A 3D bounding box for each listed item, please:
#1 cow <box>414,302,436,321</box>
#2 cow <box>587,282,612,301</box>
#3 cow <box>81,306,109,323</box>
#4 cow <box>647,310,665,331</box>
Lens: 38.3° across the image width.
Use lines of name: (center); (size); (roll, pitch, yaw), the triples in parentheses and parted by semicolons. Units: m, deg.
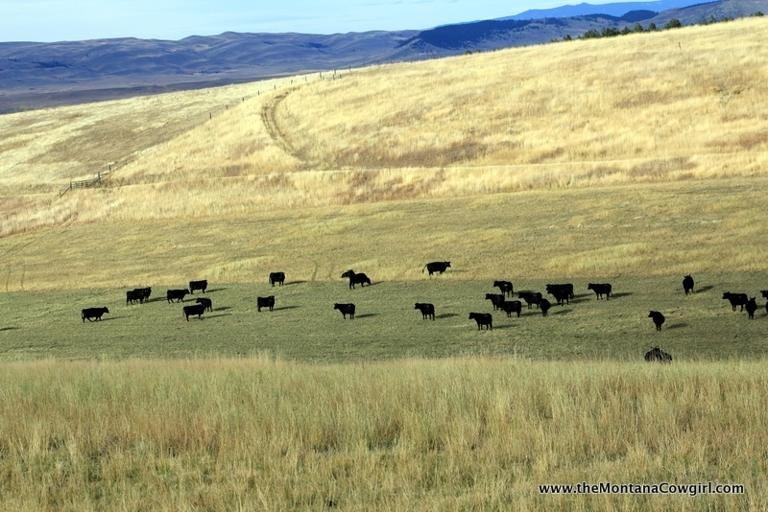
cow: (3.783, 4.934, 99.501); (1.673, 1.670, 1.384); (-9, 10, 10)
cow: (19.512, 3.091, 99.505); (1.906, 1.629, 1.276); (-9, 10, 13)
cow: (-27.041, 5.436, 103.481); (2.530, 1.268, 1.436); (-13, 10, -12)
cow: (23.639, 5.501, 95.641); (1.273, 1.697, 1.188); (-9, 10, 14)
